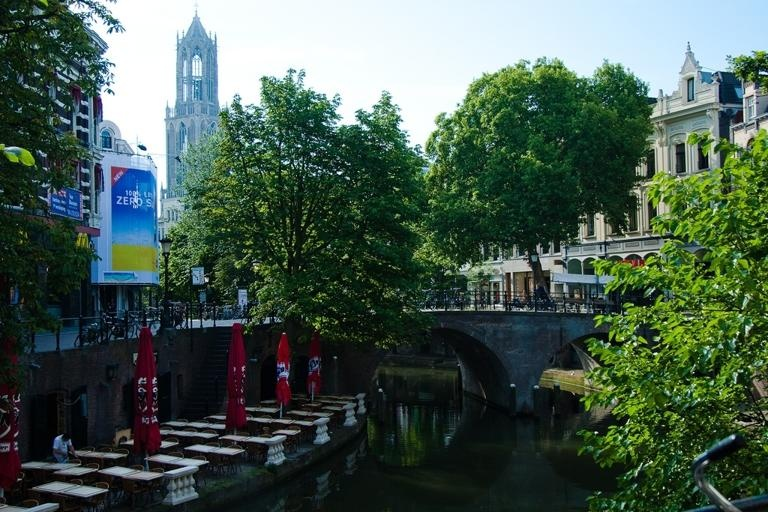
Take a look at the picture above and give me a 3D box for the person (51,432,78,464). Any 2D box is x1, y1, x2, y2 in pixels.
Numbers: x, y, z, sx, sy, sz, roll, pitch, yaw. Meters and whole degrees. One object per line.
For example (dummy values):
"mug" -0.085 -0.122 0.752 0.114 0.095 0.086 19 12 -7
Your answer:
"person" -10.367 6.297 33.318 0.635 0.916 0.456 1 -6 -16

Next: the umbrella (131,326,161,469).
"umbrella" -7.925 4.759 34.282 0.818 4.647 2.388 0 -6 -13

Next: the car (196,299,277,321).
"car" -7.523 2.888 52.344 3.434 0.819 1.998 0 -4 18
